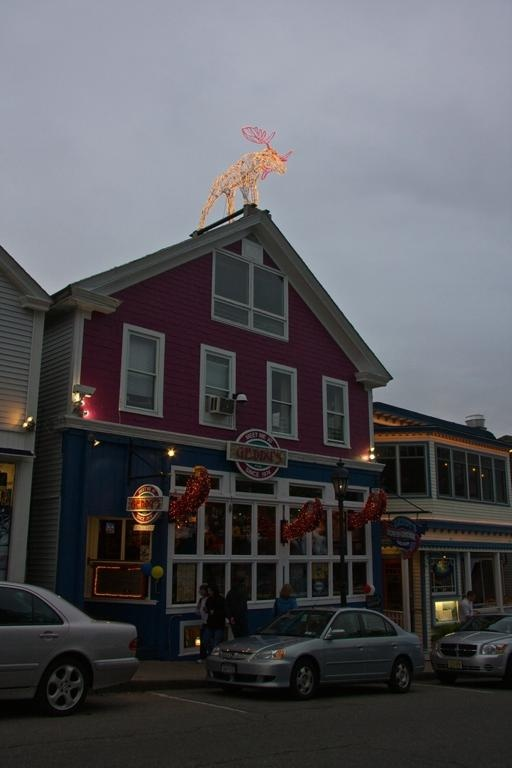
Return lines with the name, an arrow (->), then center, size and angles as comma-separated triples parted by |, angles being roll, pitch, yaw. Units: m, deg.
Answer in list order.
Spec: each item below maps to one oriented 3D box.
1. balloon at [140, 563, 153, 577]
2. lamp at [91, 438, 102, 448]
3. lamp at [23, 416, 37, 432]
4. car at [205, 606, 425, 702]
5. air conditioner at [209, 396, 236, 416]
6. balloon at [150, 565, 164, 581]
balloon -> -2.151, 3.664, 12.775 | 0.257, 0.294, 0.256 | 1, 1, 6
lamp -> -3.252, 1.210, 13.069 | 0.106, 0.159, 0.169 | 2, 0, 39
lamp -> -4.333, 0.764, 12.293 | 0.268, 0.304, 0.196 | 15, -20, -42
car -> 1.034, 4.019, 9.621 | 3.099, 1.085, 1.499 | 18, -27, -36
air conditioner -> -0.842, 0.529, 15.457 | 0.427, 0.405, 0.608 | -9, -11, 32
balloon -> -1.957, 3.762, 12.762 | 0.301, 0.360, 0.299 | 1, -20, -6
